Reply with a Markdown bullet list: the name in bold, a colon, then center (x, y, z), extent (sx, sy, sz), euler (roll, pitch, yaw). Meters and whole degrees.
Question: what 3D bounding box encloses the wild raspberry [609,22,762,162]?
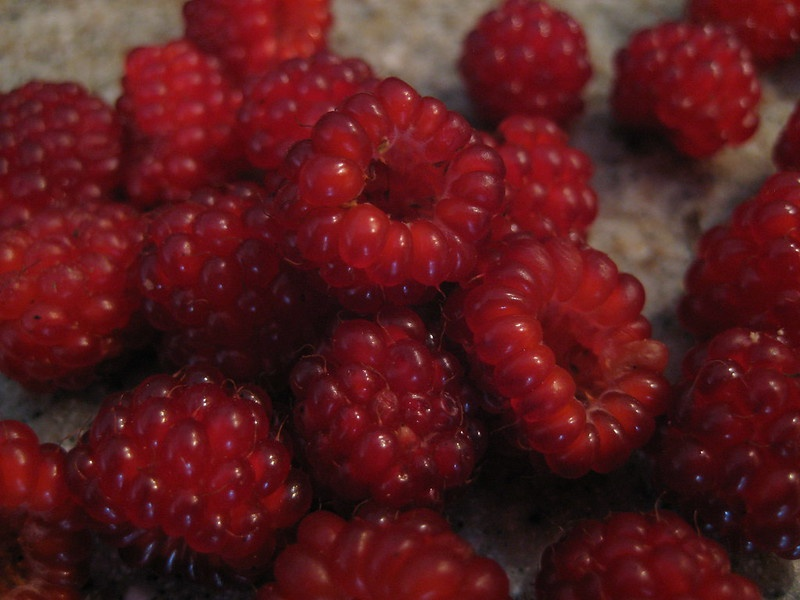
- **wild raspberry**: center (0.511, -0.377, 1.859), extent (0.263, 0.219, 0.223), euler (21, 98, 6)
